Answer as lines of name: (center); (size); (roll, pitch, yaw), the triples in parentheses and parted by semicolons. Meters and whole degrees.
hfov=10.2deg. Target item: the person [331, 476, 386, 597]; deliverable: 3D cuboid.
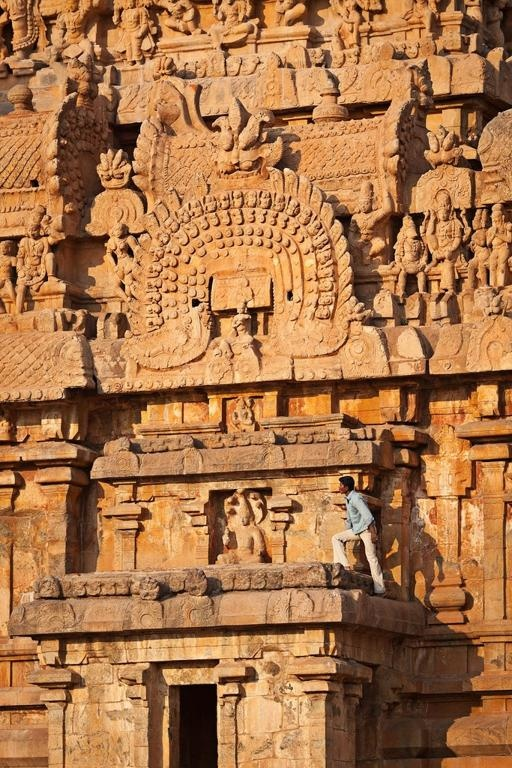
person: (0.964, 1.355, 26.778); (0.480, 1.117, 0.525); (-1, -12, 3)
